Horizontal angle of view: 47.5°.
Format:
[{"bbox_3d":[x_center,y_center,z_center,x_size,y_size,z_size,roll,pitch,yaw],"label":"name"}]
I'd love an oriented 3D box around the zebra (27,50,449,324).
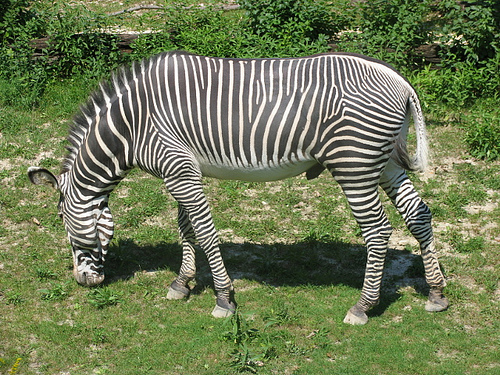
[{"bbox_3d":[-0.198,0.013,7.222,5.189,3.274,1.421,-2,9,10],"label":"zebra"}]
